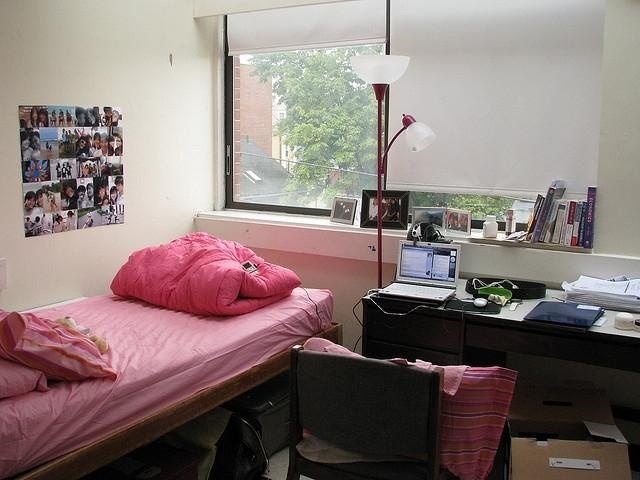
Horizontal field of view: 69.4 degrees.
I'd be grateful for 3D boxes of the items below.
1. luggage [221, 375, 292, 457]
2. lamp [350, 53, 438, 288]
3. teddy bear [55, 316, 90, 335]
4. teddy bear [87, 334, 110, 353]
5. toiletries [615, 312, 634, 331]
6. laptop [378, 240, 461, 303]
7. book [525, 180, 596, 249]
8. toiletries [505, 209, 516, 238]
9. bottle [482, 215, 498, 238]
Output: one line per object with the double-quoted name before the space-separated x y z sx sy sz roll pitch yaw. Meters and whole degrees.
"luggage" -0.365 0.947 2.626 0.324 0.214 0.433 2 5 31
"lamp" 0.476 -0.428 3.052 0.528 1.556 0.764 5 10 16
"teddy bear" -1.206 0.415 2.234 0.085 0.036 0.058 33 0 3
"teddy bear" -1.037 0.466 2.158 0.080 0.087 0.026 -41 9 46
"toiletries" 1.444 0.377 2.198 0.074 0.067 0.074 -4 10 -29
"laptop" 0.619 0.169 2.728 0.393 0.289 0.360 4 6 29
"book" 1.414 -0.140 2.912 0.344 0.478 0.386 14 3 14
"toiletries" 1.199 -0.114 2.907 0.058 0.161 0.112 6 11 23
"bottle" 1.095 -0.090 2.968 0.086 0.138 0.185 6 10 18
